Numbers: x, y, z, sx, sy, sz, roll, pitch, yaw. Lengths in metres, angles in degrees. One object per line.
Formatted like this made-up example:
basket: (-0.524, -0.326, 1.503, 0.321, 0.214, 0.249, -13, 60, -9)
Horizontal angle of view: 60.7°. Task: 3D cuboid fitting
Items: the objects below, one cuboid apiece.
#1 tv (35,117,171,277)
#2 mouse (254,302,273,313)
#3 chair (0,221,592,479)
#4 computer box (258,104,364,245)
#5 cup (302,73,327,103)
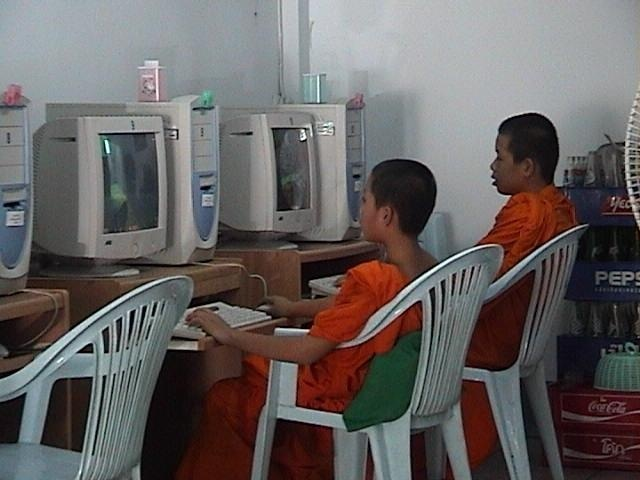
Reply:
tv: (-0.788, -0.168, 1.941, 0.316, 0.568, 0.398, 5, 10, 13)
mouse: (-0.192, 0.235, 1.891, 0.048, 0.018, 0.049, -1, 4, -12)
chair: (0.029, 0.315, 1.784, 1.461, 0.801, 0.939, 2, 4, 24)
computer box: (0.036, -0.382, 2.900, 0.399, 0.717, 0.430, 3, 14, 28)
cup: (-0.036, -0.803, 2.894, 0.126, 0.155, 0.144, 3, 17, 14)
